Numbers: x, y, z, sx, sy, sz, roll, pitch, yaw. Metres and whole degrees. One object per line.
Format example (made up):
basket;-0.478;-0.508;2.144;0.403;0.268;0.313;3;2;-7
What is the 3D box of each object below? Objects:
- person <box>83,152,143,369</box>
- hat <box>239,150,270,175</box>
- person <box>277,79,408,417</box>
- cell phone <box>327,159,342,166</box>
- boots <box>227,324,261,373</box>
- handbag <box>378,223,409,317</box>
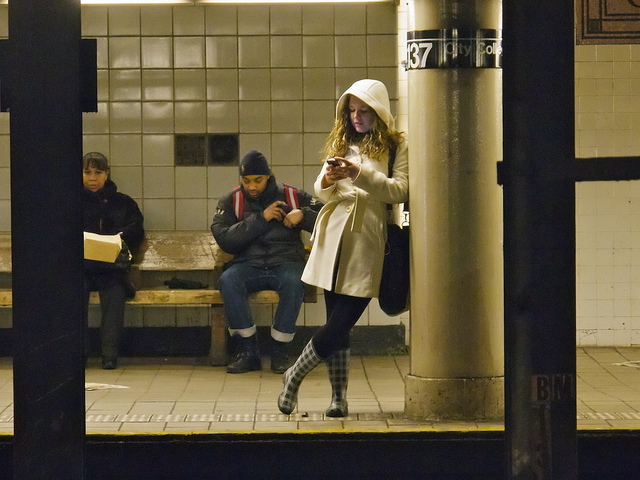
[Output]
person;-1.454;0.115;6.309;0.416;1.426;0.767;-2;8;-11
hat;-0.459;-0.520;6.177;0.166;0.148;0.176;-1;18;-2
person;0.127;0.058;4.840;0.735;1.823;0.429;-2;8;-13
cell phone;0.067;-0.397;4.617;0.084;0.040;0.037;5;10;30
boots;-0.552;0.800;6.191;0.168;0.363;0.369;-6;-11;31
handbag;0.414;0.180;4.816;0.233;0.415;0.121;7;8;28
